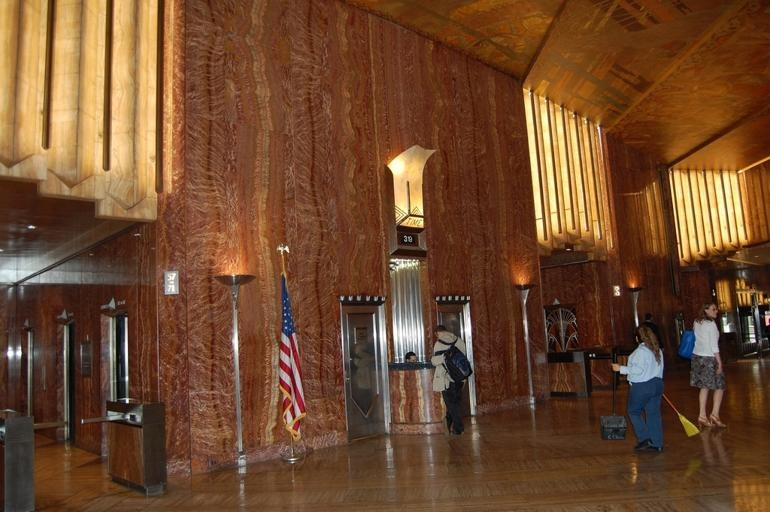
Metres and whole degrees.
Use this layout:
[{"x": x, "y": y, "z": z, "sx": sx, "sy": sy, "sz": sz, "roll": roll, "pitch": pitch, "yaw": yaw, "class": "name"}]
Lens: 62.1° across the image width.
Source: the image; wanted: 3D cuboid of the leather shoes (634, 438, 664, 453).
[{"x": 4.237, "y": 3.043, "z": 10.269, "sx": 0.406, "sy": 0.173, "sz": 0.186, "roll": 3, "pitch": -1, "yaw": 21, "class": "leather shoes"}]

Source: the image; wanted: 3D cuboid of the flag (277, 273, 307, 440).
[{"x": -1.739, "y": 1.781, "z": 11.457, "sx": 0.408, "sy": 2.962, "sz": 0.578, "roll": -4, "pitch": -9, "yaw": -11, "class": "flag"}]

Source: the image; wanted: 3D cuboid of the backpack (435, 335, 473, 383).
[{"x": 1.257, "y": 1.962, "z": 12.032, "sx": 0.642, "sy": 0.843, "sz": 0.241, "roll": -6, "pitch": -9, "yaw": 3, "class": "backpack"}]

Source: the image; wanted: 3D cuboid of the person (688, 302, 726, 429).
[{"x": 5.970, "y": 2.025, "z": 11.925, "sx": 0.607, "sy": 2.204, "sz": 1.255, "roll": -9, "pitch": -10, "yaw": 21, "class": "person"}]

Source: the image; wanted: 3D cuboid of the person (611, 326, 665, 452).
[{"x": 4.098, "y": 2.106, "z": 10.193, "sx": 0.707, "sy": 2.000, "sz": 0.713, "roll": -8, "pitch": -9, "yaw": 17, "class": "person"}]

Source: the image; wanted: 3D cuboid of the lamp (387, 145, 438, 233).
[{"x": 0.534, "y": -1.445, "z": 13.553, "sx": 0.835, "sy": 1.370, "sz": 0.754, "roll": -2, "pitch": -5, "yaw": -16, "class": "lamp"}]
